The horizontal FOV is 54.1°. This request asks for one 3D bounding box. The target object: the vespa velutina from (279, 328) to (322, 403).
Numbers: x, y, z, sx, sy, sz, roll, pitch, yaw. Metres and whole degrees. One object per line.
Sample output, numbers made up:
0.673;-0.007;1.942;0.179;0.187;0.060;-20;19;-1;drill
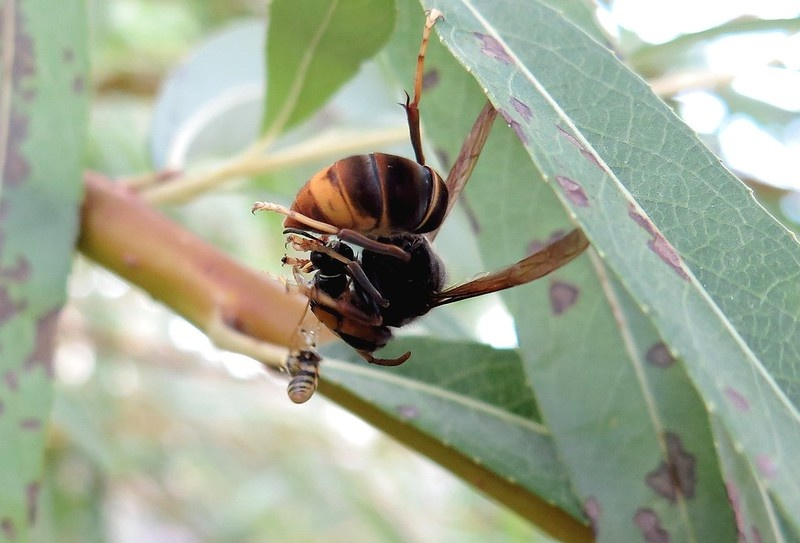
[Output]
-0.141;0.141;1.196;0.041;0.122;0.052;-15;-43;27;vespa velutina
